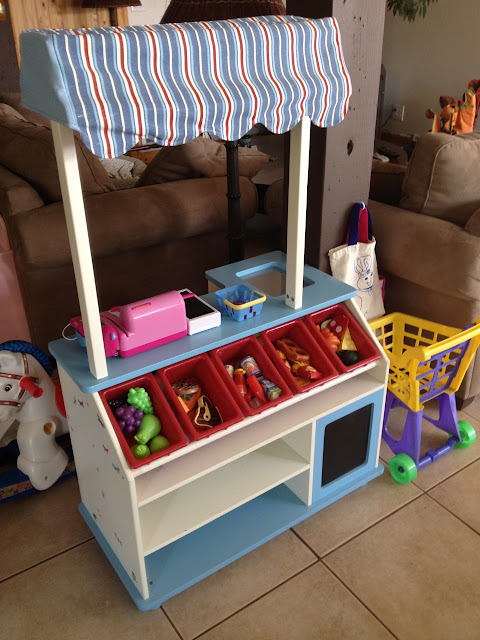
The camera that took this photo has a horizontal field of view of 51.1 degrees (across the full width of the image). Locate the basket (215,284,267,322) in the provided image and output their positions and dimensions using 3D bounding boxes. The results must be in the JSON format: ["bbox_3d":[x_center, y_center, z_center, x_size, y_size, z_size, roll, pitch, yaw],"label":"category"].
[{"bbox_3d":[0.001,-0.045,1.303,0.093,0.049,0.115,-18,38,-26],"label":"basket"}]

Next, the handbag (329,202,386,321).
[{"bbox_3d":[0.394,-0.198,1.717,0.125,0.454,0.271,19,36,40],"label":"handbag"}]

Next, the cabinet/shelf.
[{"bbox_3d":[-0.031,0.275,1.453,0.806,0.609,0.508,-19,32,-29],"label":"cabinet/shelf"}]
